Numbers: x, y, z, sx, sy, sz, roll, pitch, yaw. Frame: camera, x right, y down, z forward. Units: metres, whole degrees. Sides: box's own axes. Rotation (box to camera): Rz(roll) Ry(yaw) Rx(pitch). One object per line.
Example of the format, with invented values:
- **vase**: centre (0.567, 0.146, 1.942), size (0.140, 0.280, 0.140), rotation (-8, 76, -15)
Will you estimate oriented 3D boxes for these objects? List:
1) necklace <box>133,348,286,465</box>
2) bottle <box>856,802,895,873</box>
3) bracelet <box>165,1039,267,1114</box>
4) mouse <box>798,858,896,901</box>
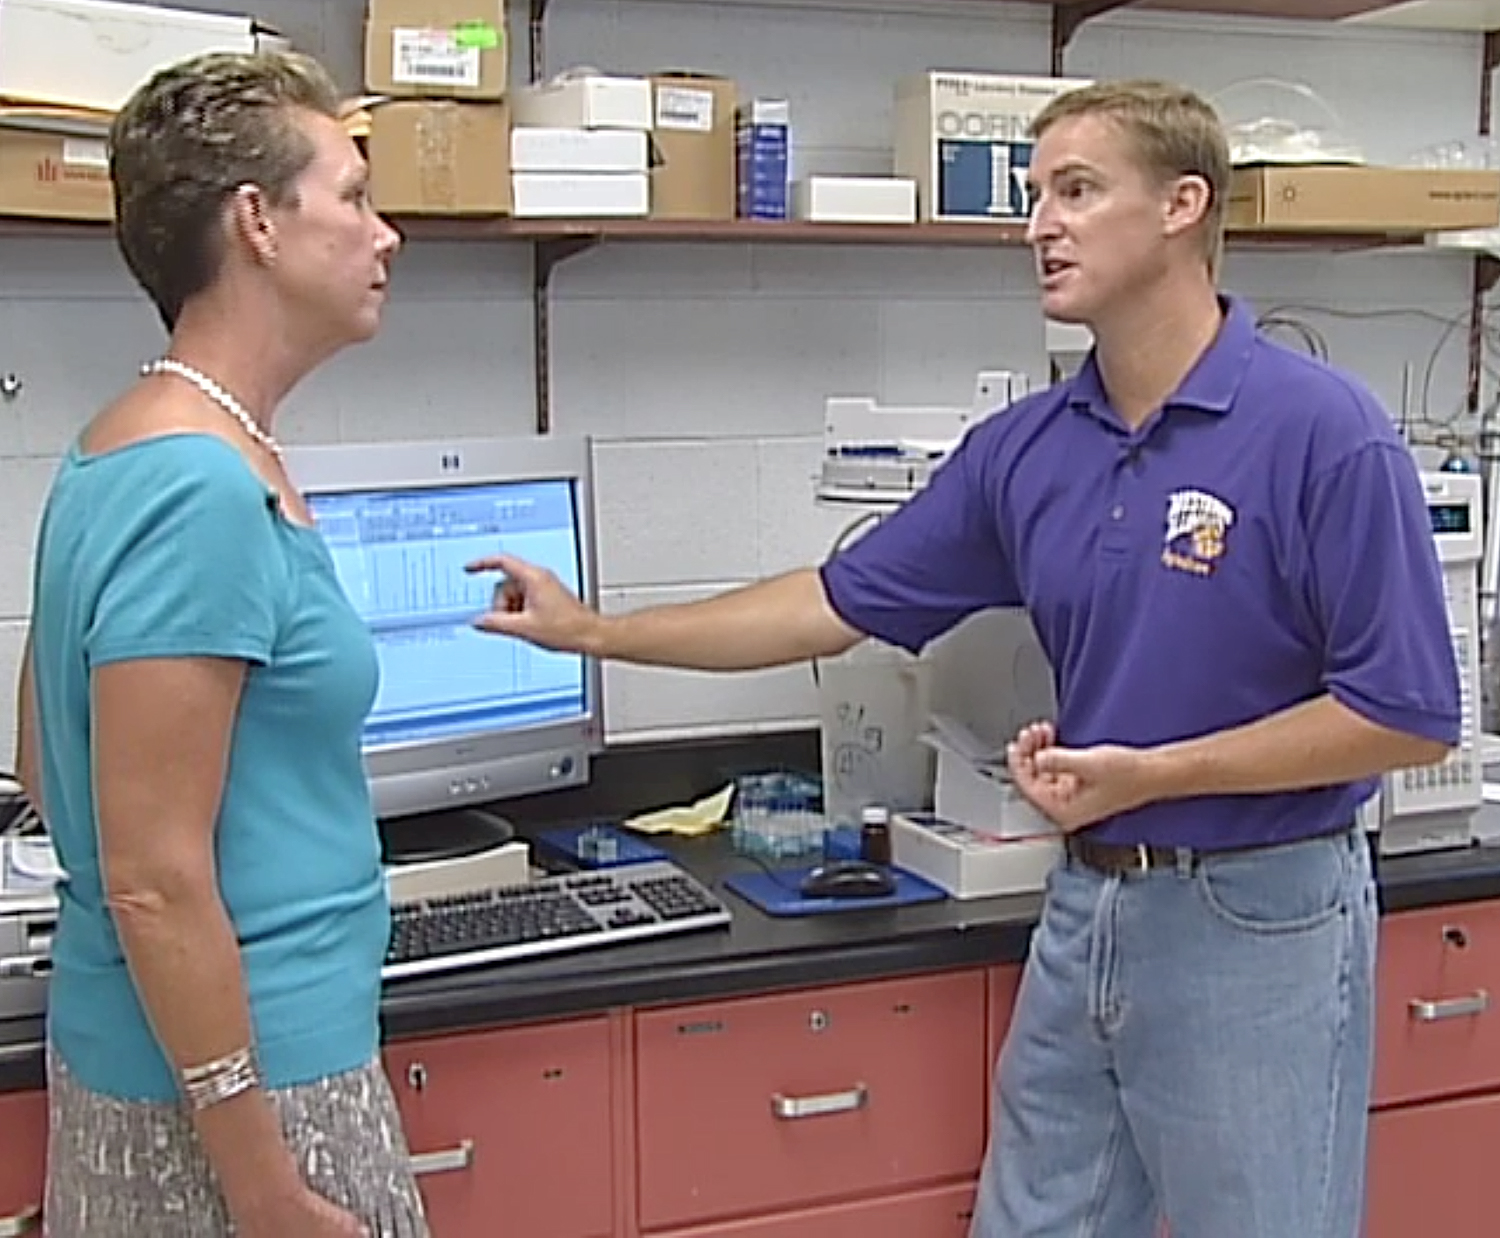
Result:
- **necklace**: centre (-0.499, -0.199, 1.312), size (0.029, 0.113, 0.088), rotation (-39, -15, -6)
- **bottle**: centre (0.201, 0.346, 2.260), size (0.069, 0.129, 0.072), rotation (1, 5, 0)
- **bracelet**: centre (-0.453, 0.392, 1.211), size (0.050, 0.034, 0.052), rotation (-17, -3, 5)
- **mouse**: centre (0.144, 0.380, 2.102), size (0.102, 0.032, 0.058), rotation (-1, 3, -7)
